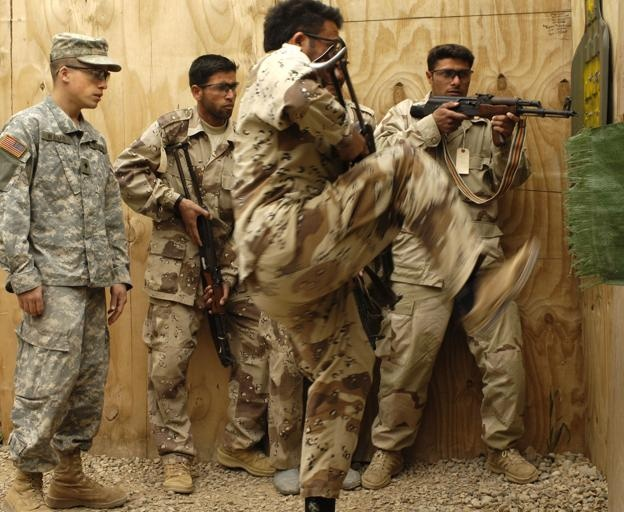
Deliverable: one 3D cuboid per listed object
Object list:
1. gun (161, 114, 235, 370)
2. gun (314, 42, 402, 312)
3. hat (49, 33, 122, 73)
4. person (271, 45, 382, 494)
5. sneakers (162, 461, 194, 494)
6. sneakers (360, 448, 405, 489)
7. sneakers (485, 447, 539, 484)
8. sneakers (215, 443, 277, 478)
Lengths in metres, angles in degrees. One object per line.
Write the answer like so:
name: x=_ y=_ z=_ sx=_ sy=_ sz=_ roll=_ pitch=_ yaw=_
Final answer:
gun: x=-0.701 y=-0.142 z=4.758 sx=0.295 sy=1.536 sz=0.122 roll=-1 pitch=9 yaw=45
gun: x=0.285 y=-0.368 z=3.322 sx=0.105 sy=1.437 sz=0.510 roll=-17 pitch=-32 yaw=0
hat: x=-1.252 y=-1.147 z=4.372 sx=0.401 sy=0.191 sz=0.262 roll=5 pitch=5 yaw=4
person: x=0.045 y=0.243 z=4.149 sx=0.584 sy=2.530 sz=0.646 roll=2 pitch=6 yaw=-2
sneakers: x=-0.806 y=1.320 z=4.693 sx=0.179 sy=0.169 sz=0.416 roll=11 pitch=-13 yaw=-22
sneakers: x=0.379 y=1.233 z=4.629 sx=0.131 sy=0.156 sz=0.330 roll=13 pitch=16 yaw=21
sneakers: x=1.158 y=1.197 z=4.556 sx=0.146 sy=0.174 sz=0.346 roll=-5 pitch=6 yaw=-37
sneakers: x=-0.407 y=1.252 z=4.853 sx=0.360 sy=0.179 sz=0.151 roll=9 pitch=13 yaw=1
